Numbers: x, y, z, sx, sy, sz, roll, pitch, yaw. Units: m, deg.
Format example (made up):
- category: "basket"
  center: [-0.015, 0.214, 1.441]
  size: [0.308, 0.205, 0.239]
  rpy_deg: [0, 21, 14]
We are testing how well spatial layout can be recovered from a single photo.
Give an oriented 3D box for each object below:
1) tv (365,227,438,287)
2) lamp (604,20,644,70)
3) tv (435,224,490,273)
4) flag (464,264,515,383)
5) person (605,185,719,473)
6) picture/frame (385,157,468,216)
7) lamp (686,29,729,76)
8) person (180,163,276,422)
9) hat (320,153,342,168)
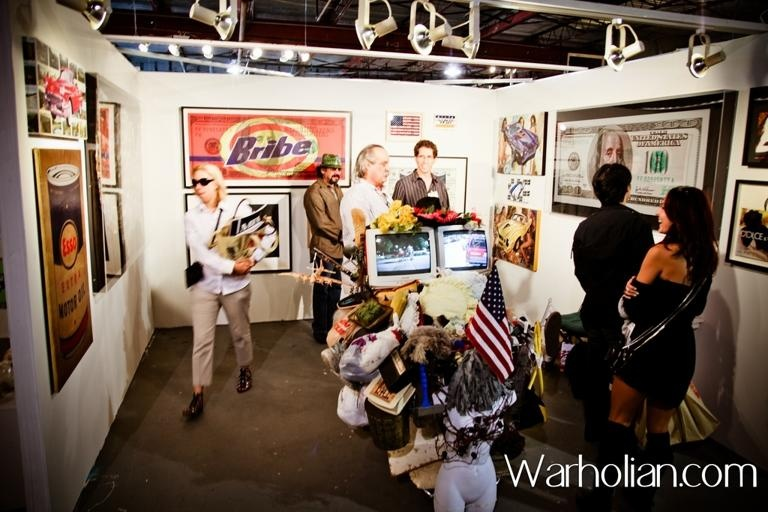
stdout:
- category: "tv"
  center: [0.143, -0.034, 4.414]
  size: [0.719, 0.635, 0.445]
  rpy_deg: [-2, 3, -15]
- category: "lamp"
  center: [2.357, -2.108, 4.816]
  size: [0.325, 0.517, 0.326]
  rpy_deg: [-1, 6, 21]
- category: "tv"
  center: [0.681, -0.064, 4.554]
  size: [0.637, 0.578, 0.354]
  rpy_deg: [-1, 0, -17]
- category: "flag"
  center: [0.711, 0.451, 3.187]
  size: [0.368, 0.808, 0.230]
  rpy_deg: [-1, 12, -10]
- category: "person"
  center: [2.092, 0.570, 3.757]
  size: [0.671, 2.156, 0.390]
  rpy_deg: [-4, 12, -22]
- category: "picture/frame"
  center: [0.495, -0.919, 6.193]
  size: [0.989, 0.756, 0.020]
  rpy_deg: [-1, 7, -10]
- category: "lamp"
  center: [2.898, -1.853, 4.420]
  size: [0.282, 0.458, 0.289]
  rpy_deg: [-1, -12, 14]
- category: "person"
  center: [-1.596, 0.324, 4.866]
  size: [0.889, 2.433, 0.435]
  rpy_deg: [-5, 13, -26]
- category: "hat"
  center: [-0.711, -1.221, 6.361]
  size: [0.217, 0.122, 0.222]
  rpy_deg: [-1, 6, -23]
